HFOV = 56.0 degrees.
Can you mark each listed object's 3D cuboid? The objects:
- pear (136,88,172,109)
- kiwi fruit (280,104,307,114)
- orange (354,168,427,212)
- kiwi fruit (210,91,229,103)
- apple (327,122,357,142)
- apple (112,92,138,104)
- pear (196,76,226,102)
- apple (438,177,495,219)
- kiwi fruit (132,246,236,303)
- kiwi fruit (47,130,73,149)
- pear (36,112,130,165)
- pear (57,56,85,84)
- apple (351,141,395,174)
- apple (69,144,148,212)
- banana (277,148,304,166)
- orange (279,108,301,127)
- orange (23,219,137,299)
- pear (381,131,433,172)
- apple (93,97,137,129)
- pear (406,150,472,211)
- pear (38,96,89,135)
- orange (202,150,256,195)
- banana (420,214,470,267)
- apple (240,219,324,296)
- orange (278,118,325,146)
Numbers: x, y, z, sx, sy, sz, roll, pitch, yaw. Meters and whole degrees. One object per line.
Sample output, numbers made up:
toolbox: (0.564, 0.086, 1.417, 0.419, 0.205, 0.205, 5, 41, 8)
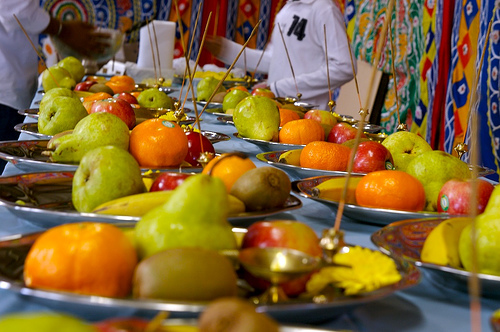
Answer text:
pear: (-0.302, -0.223, 1.481, 0.063, 0.073, 0.079, 5, 27, 2)
kiwi fruit: (0.142, -0.193, 1.536, 0.049, 0.023, 0.052, 6, 6, 28)
orange: (0.223, 0.040, 0.750, 0.080, 0.068, 0.083, 0, -2, 9)
kiwi fruit: (-0.112, -0.252, 1.772, 0.052, 0.050, 0.046, -1, -15, -27)
apple: (0.227, -0.082, 1.166, 0.069, 0.048, 0.096, 7, 14, 7)
apple: (-0.374, -0.194, 1.388, 0.045, 0.049, 0.049, 0, 1, -5)
pear: (-0.176, -0.325, 1.882, 0.101, 0.117, 0.109, 0, 25, -44)
apple: (0.308, 0.048, 0.675, 0.046, 0.053, 0.050, 2, 9, 10)
kiwi fruit: (-0.066, 0.109, 0.463, 0.072, 0.049, 0.058, -2, -34, 2)
kiwi fruit: (-0.362, -0.059, 0.897, 0.041, 0.026, 0.043, -24, 9, 0)
pear: (-0.287, -0.031, 0.860, 0.159, 0.104, 0.092, -9, -1, -7)
pear: (-0.770, -0.414, 2.043, 0.101, 0.127, 0.092, 4, -19, -37)
apple: (0.223, -0.014, 0.864, 0.039, 0.043, 0.044, -8, 42, 33)
apple: (-0.197, 0.017, 0.686, 0.092, 0.097, 0.092, -1, 30, -45)
banana: (0.083, -0.019, 0.975, 0.078, 0.030, 0.021, -2, 7, -43)
orange: (0.109, -0.128, 1.282, 0.048, 0.051, 0.052, -1, 1, 2)
orange: (-0.171, 0.098, 0.485, 0.078, 0.085, 0.085, 5, -4, 2)
pear: (0.328, -0.041, 0.991, 0.082, 0.095, 0.104, 0, -7, 6)
apple: (-0.301, -0.109, 1.062, 0.074, 0.083, 0.077, -2, 3, -29)
pear: (0.317, 0.027, 0.814, 0.090, 0.113, 0.101, -1, 0, 12)
pear: (-0.401, -0.117, 1.029, 0.084, 0.094, 0.091, -12, 17, -35)
orange: (-0.042, 0.001, 0.737, 0.061, 0.083, 0.063, 11, -3, 38)
banana: (0.246, 0.101, 0.612, 0.085, 0.028, 0.046, -29, 8, -38)
apple: (0.035, 0.101, 0.523, 0.093, 0.062, 0.079, 5, 13, -2)
orange: (0.128, -0.084, 1.143, 0.108, 0.062, 0.097, -4, 17, -36)
